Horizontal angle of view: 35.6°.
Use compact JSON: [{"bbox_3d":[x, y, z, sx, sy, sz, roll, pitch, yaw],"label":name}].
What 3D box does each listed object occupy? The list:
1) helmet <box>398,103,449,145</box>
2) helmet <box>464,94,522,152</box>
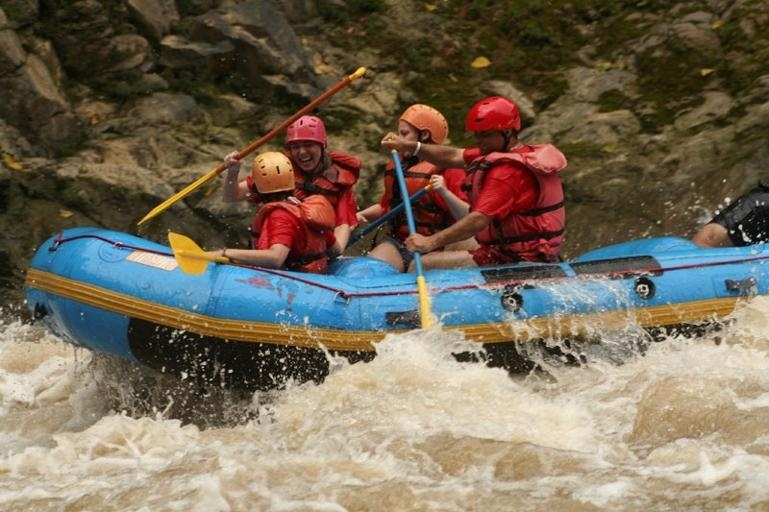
[{"bbox_3d":[0.464,-1.414,12.766,0.582,0.304,0.337,5,9,-17],"label":"helmet"},{"bbox_3d":[1.078,-1.324,11.926,0.516,0.444,0.582,17,23,29],"label":"helmet"}]
